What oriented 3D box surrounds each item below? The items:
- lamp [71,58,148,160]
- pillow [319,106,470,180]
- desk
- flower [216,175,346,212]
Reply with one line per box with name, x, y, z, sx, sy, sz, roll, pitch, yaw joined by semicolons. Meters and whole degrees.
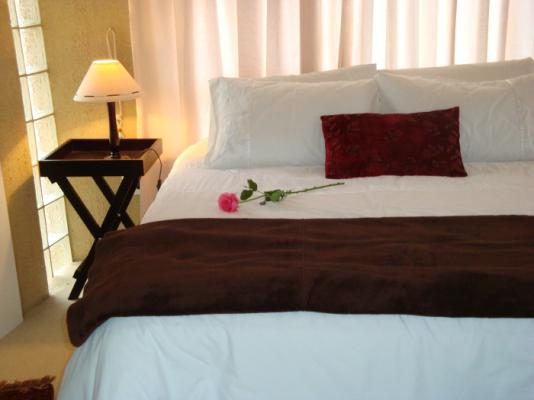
lamp;-0.900;-0.616;2.938;0.463;0.740;0.500;-8;21;-18
pillow;0.643;-0.318;2.463;0.659;0.406;0.170;0;23;18
desk;-0.981;0.120;2.983;0.562;0.785;0.685;-2;10;-3
flower;0.035;-0.015;2.162;0.463;0.129;0.203;-11;7;-1
